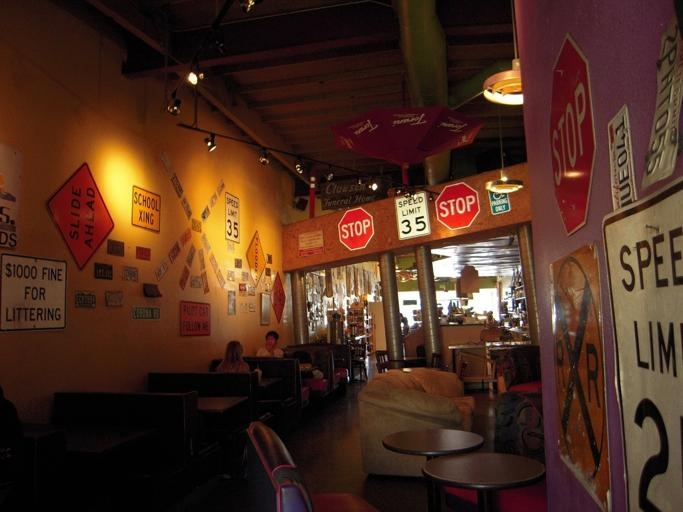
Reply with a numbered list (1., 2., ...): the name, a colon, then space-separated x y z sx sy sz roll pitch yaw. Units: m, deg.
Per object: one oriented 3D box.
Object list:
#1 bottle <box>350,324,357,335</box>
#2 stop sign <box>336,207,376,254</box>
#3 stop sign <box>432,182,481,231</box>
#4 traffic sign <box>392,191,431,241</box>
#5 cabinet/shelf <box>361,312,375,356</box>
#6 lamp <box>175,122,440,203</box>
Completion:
1. bottle: 0.357 2.138 14.506 0.198 0.302 0.215 0 -10 0
2. stop sign: 0.292 -0.463 8.929 0.102 0.894 0.718 0 -3 -44
3. stop sign: 1.873 -0.804 7.900 0.079 0.647 0.578 1 -19 -44
4. traffic sign: 1.198 -0.678 8.300 0.695 1.023 0.091 -5 -4 37
5. cabinet/shelf: 0.807 2.367 15.249 0.478 1.508 1.505 0 -3 11
6. lamp: -0.629 -1.532 7.982 1.169 0.779 3.006 -2 -8 40
